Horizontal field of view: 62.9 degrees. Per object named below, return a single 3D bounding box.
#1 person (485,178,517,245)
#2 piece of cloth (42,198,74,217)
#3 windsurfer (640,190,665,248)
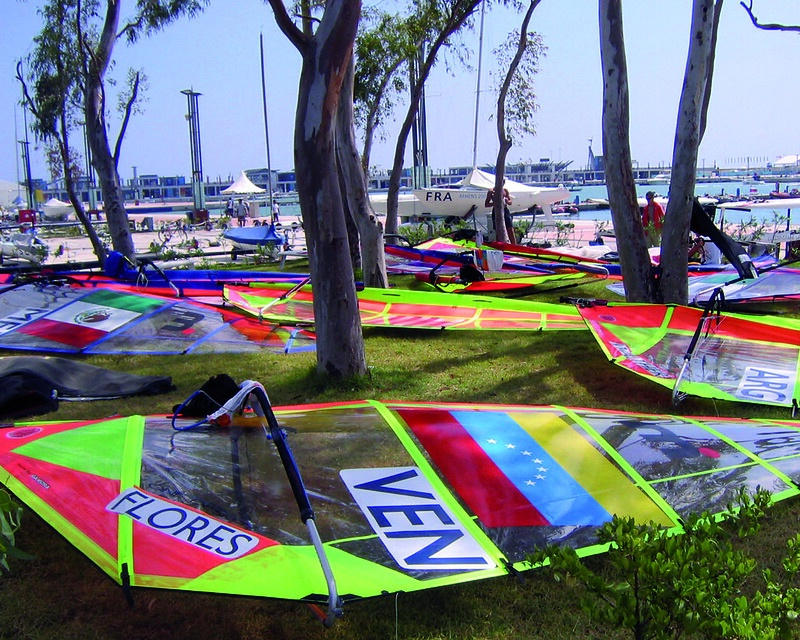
[{"bbox_3d":[2.813,-2.796,17.829,0.727,2.413,0.689,-7,-1,4],"label":"person"},{"bbox_3d":[-22.348,-7.340,42.634,1.476,1.263,4.716,-12,14,-28],"label":"piece of cloth"},{"bbox_3d":[5.421,-2.003,14.033,0.466,1.424,0.349,-3,0,28],"label":"windsurfer"}]
